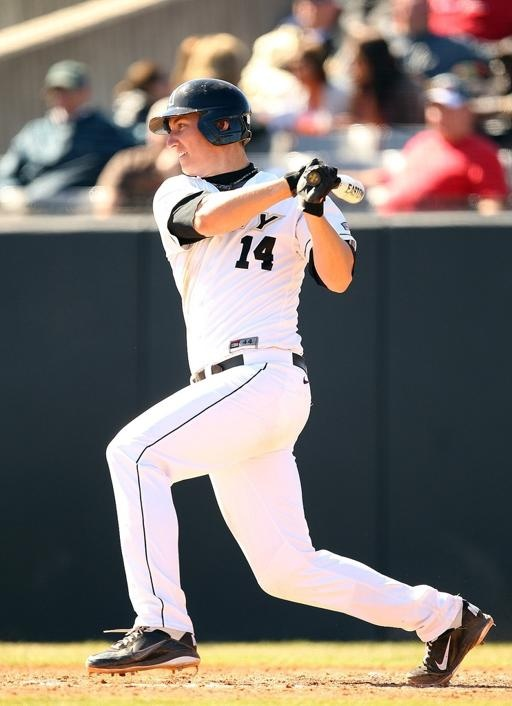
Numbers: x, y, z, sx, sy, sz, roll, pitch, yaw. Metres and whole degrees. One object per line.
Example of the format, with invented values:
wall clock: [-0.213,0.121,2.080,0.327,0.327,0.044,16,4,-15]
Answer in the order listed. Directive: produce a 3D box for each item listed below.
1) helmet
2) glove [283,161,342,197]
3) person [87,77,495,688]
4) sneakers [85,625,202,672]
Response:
helmet: [-0.128,-0.726,3.624,0.285,0.169,0.219,-18,18,-21]
glove: [0.155,-0.476,3.224,0.131,0.091,0.059,-27,31,-20]
person: [0.029,0.195,3.519,0.959,1.829,1.205,-3,29,8]
sneakers: [-0.297,0.834,3.327,0.357,0.115,0.134,2,62,-5]
